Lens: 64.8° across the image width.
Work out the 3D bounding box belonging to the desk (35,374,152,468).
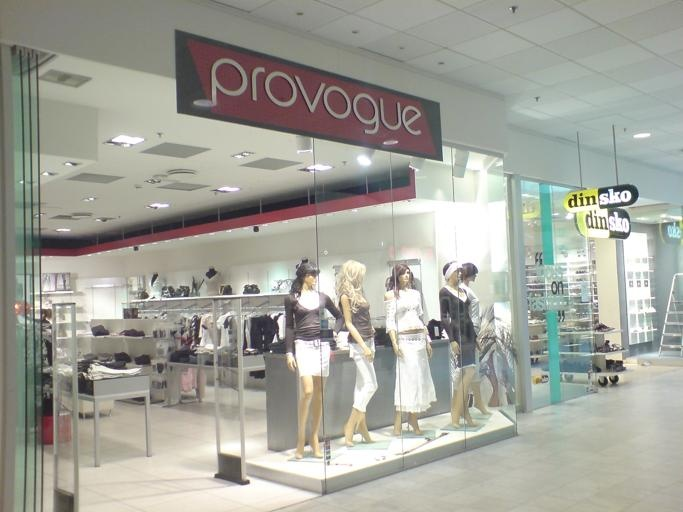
[{"bbox_3d":[-2.992,2.255,6.975,0.912,1.227,1.580,3,-9,-34],"label":"desk"}]

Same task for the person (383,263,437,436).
[{"bbox_3d":[0.739,1.014,5.832,0.210,1.837,0.729,-6,-6,42],"label":"person"}]

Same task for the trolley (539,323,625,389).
[{"bbox_3d":[4.217,1.798,9.523,0.781,1.016,1.425,0,-1,-33],"label":"trolley"}]

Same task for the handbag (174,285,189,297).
[{"bbox_3d":[-4.220,0.952,14.292,0.282,0.403,0.382,7,2,34],"label":"handbag"}]

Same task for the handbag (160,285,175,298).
[{"bbox_3d":[-4.780,1.002,14.844,0.232,0.303,0.689,1,1,-34],"label":"handbag"}]

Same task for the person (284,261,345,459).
[{"bbox_3d":[-0.325,1.054,5.383,0.621,1.989,0.344,-6,-6,39],"label":"person"}]

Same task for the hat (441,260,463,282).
[{"bbox_3d":[1.302,0.174,6.300,0.060,0.224,0.358,-6,-5,38],"label":"hat"}]

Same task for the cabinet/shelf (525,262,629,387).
[{"bbox_3d":[4.293,1.296,9.803,2.466,2.550,1.120,2,-5,-44],"label":"cabinet/shelf"}]

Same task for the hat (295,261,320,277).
[{"bbox_3d":[-0.350,0.148,5.471,0.204,0.215,0.150,-6,0,10],"label":"hat"}]

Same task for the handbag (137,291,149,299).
[{"bbox_3d":[-5.747,1.141,15.603,0.111,0.115,0.213,18,24,-13],"label":"handbag"}]
